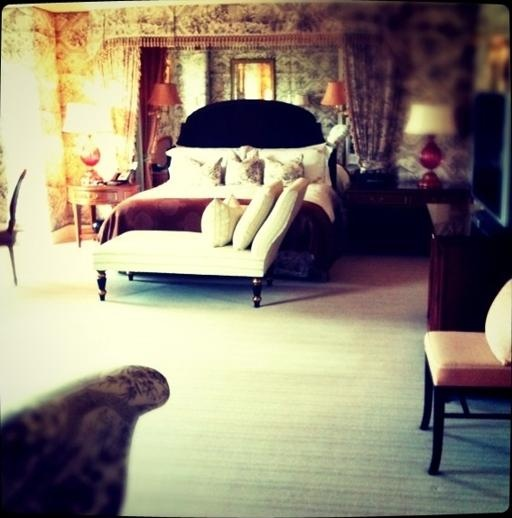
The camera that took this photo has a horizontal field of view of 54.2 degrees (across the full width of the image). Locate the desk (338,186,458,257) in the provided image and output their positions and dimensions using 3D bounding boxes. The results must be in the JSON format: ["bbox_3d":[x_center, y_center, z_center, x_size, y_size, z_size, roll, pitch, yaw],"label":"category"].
[{"bbox_3d":[1.407,-0.395,5.281,1.100,0.785,0.690,0,11,8],"label":"desk"}]

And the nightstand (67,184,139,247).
[{"bbox_3d":[-1.732,-0.448,5.757,0.699,0.702,0.693,-1,12,-3],"label":"nightstand"}]

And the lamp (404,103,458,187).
[{"bbox_3d":[1.810,-1.194,5.229,0.474,0.876,0.597,3,13,17],"label":"lamp"}]

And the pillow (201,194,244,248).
[{"bbox_3d":[-0.267,-0.283,3.843,0.146,0.229,0.458,3,8,11],"label":"pillow"}]

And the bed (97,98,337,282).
[{"bbox_3d":[-0.113,-0.954,5.431,2.164,1.628,2.216,2,21,9],"label":"bed"}]

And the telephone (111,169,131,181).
[{"bbox_3d":[-1.570,-0.982,5.816,0.173,0.047,0.180,0,27,7],"label":"telephone"}]

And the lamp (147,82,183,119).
[{"bbox_3d":[-1.286,-2.205,7.033,0.478,0.385,0.562,-2,10,-7],"label":"lamp"}]

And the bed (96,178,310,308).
[{"bbox_3d":[-0.379,-0.298,4.178,1.572,1.113,0.866,4,15,9],"label":"bed"}]

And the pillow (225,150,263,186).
[{"bbox_3d":[-0.127,-1.050,5.498,0.341,0.467,0.144,0,-23,10],"label":"pillow"}]
